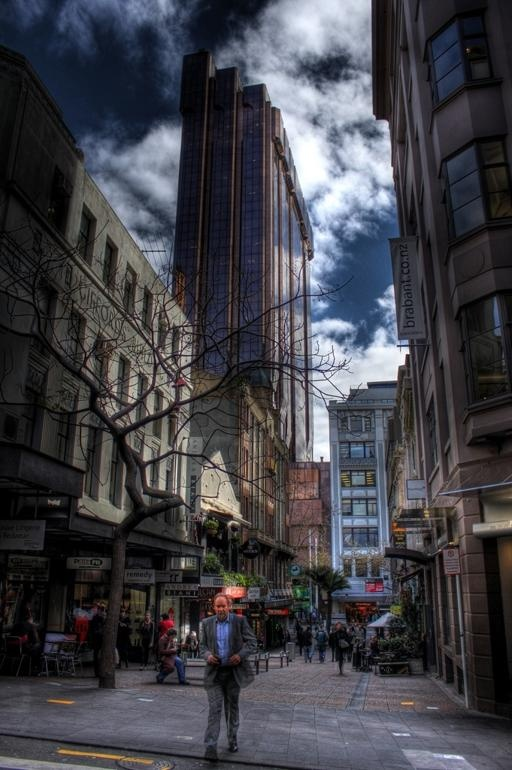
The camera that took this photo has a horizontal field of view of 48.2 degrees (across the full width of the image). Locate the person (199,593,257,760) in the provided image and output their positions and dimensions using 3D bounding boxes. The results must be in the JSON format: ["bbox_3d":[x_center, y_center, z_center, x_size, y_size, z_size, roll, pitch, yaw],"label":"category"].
[{"bbox_3d":[-0.279,2.799,5.560,0.535,1.458,1.463,-1,-18,-5],"label":"person"}]

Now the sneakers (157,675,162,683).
[{"bbox_3d":[-2.161,6.578,12.781,0.123,0.102,0.293,-37,-6,-16],"label":"sneakers"}]

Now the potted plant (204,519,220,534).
[{"bbox_3d":[-2.361,7.593,30.508,0.686,0.822,0.759,-3,-22,4],"label":"potted plant"}]

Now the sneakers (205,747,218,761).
[{"bbox_3d":[-0.384,3.088,4.811,0.115,0.113,0.267,-1,-19,-6],"label":"sneakers"}]
